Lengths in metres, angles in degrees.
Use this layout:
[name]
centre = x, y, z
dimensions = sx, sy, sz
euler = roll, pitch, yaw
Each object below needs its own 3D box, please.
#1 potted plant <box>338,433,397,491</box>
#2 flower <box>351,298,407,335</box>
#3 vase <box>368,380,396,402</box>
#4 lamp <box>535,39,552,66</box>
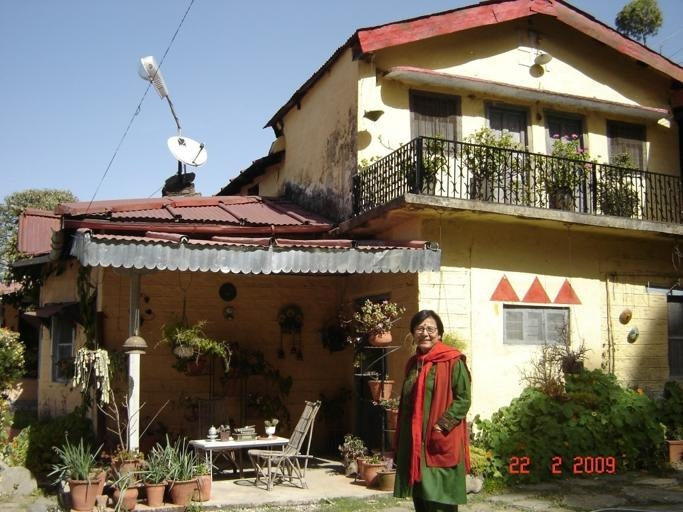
[potted plant]
centre = 0.492, 3.600, 12.522
dimensions = 0.586, 0.769, 1.423
euler = 5, -11, -18
[flower]
centre = 0.624, 1.111, 12.914
dimensions = 0.759, 0.566, 0.800
euler = 3, -3, 11
[vase]
centre = 0.727, 2.428, 12.960
dimensions = 0.367, 0.409, 0.466
euler = 3, -16, -2
[lamp]
centre = 4.258, -4.274, 15.381
dimensions = 0.378, 0.579, 0.163
euler = -17, -28, 12
